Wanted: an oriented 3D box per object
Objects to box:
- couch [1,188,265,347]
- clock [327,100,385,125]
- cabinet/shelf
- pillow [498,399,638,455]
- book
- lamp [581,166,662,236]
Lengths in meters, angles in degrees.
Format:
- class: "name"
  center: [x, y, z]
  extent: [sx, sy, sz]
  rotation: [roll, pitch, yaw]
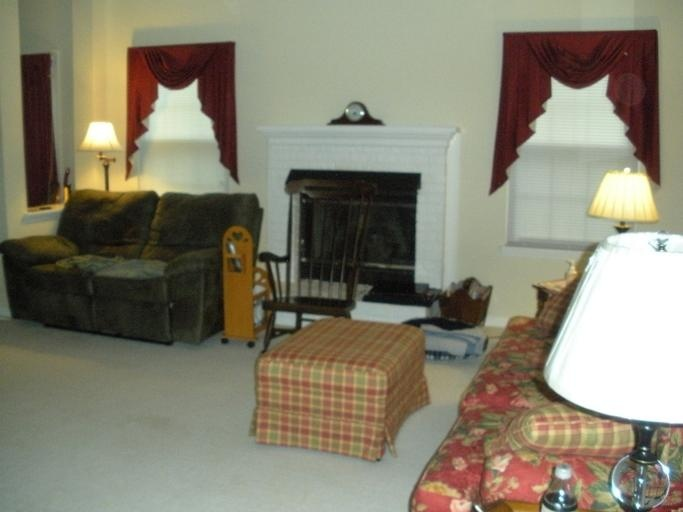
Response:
- class: "couch"
  center: [-1.689, 0.028, 4.794]
  extent: [1.831, 1.059, 0.833]
  rotation: [5, 14, 16]
- class: "clock"
  center: [0.118, -1.244, 5.121]
  extent: [0.495, 0.198, 0.174]
  rotation: [2, 14, 7]
- class: "cabinet/shelf"
  center: [-0.748, 0.200, 4.478]
  extent: [0.327, 0.886, 0.404]
  rotation: [5, 14, 17]
- class: "pillow"
  center: [0.677, 0.504, 1.774]
  extent: [0.254, 0.102, 0.263]
  rotation: [-17, -17, 38]
- class: "book"
  center: [0.427, 0.378, 4.680]
  extent: [0.407, 0.182, 0.396]
  rotation: [2, 8, 21]
- class: "lamp"
  center: [1.722, -0.307, 3.621]
  extent: [0.393, 0.419, 0.400]
  rotation: [-3, 8, -39]
